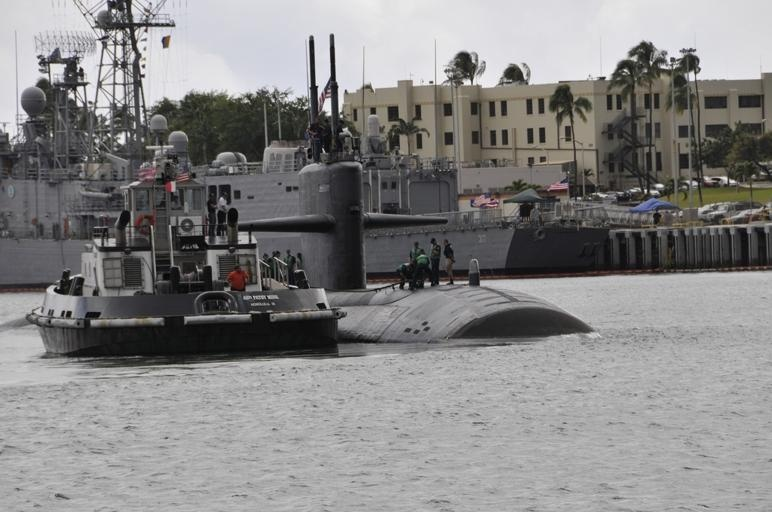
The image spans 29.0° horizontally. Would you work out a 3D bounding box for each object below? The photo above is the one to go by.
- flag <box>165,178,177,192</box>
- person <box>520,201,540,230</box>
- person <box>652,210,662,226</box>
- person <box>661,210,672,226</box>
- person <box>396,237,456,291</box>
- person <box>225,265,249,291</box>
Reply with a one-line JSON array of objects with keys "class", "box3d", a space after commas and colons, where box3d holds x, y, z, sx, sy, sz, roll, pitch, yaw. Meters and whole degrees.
[{"class": "flag", "box3d": [-7.227, -2.449, 51.091, 0.350, 0.466, 0.496, 1, 2, 11]}, {"class": "person", "box3d": [7.651, -2.051, 78.037, 1.364, 1.249, 0.319, -2, -21, 4]}, {"class": "person", "box3d": [15.327, -2.180, 83.864, 0.414, 0.842, 2.108, -1, 1, 11]}, {"class": "person", "box3d": [16.149, -2.234, 85.385, 0.632, 0.823, 2.310, -1, 1, 11]}, {"class": "person", "box3d": [1.182, 0.436, 51.770, 1.253, 1.147, 2.144, -2, 7, -3]}, {"class": "person", "box3d": [-4.756, 0.726, 49.076, 0.806, 1.184, 0.757, 0, 1, 5]}]
